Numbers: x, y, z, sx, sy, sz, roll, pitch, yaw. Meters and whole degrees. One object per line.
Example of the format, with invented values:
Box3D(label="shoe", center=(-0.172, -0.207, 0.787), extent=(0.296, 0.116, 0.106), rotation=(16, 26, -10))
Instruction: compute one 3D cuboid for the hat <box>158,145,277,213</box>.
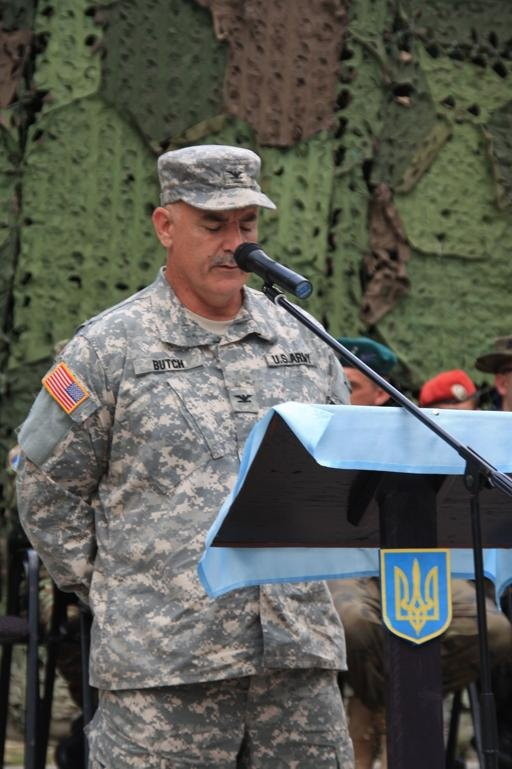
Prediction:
Box3D(label="hat", center=(-0.091, -0.520, 3.132), extent=(0.249, 0.147, 0.320), rotation=(-13, 21, -37))

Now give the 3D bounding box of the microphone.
Box3D(label="microphone", center=(0.034, -0.258, 2.674), extent=(0.078, 0.090, 0.276), rotation=(36, -4, -31))
